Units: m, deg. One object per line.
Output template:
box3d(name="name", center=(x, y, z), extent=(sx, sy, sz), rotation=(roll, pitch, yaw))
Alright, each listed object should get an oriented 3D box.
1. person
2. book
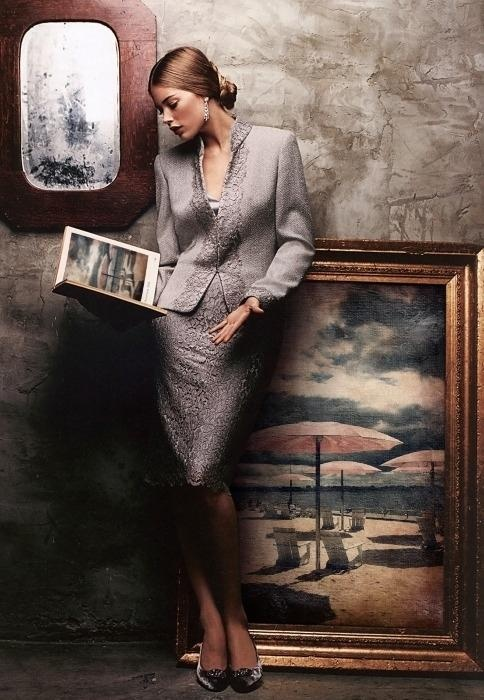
box3d(name="person", center=(-0.057, 0.023, 1.917), extent=(0.426, 1.496, 0.314), rotation=(1, 6, 15))
box3d(name="book", center=(-0.310, -0.180, 1.930), extent=(0.274, 0.166, 0.154), rotation=(22, -22, -32))
